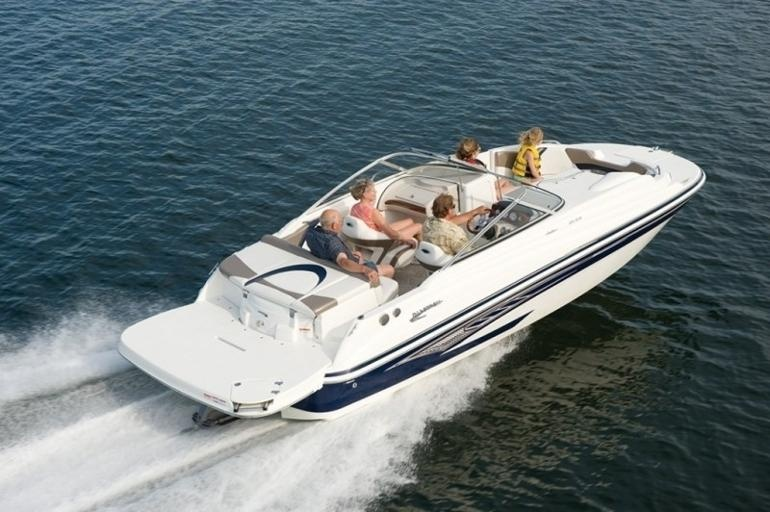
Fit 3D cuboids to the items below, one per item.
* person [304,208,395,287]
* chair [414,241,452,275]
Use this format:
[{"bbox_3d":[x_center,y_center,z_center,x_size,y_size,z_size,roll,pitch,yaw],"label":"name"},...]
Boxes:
[{"bbox_3d":[-0.529,-0.090,11.718,1.298,0.642,1.703,-8,26,-33],"label":"person"},{"bbox_3d":[0.795,0.022,11.727,0.607,0.389,0.527,33,55,19],"label":"chair"}]
